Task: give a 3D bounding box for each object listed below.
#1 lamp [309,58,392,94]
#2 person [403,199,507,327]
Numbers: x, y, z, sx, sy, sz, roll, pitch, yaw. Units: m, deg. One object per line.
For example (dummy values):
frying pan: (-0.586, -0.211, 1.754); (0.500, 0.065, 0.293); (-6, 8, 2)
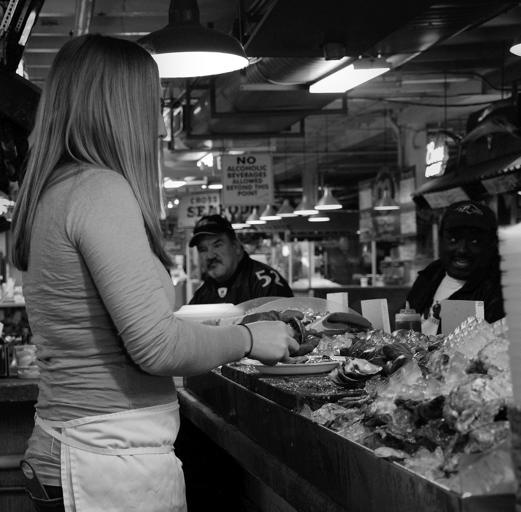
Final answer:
lamp: (0.484, -0.888, 3.907); (0.143, 0.034, 0.525); (27, -17, -17)
person: (1.095, 0.020, 4.007); (0.378, 0.637, 0.786); (0, -2, -12)
